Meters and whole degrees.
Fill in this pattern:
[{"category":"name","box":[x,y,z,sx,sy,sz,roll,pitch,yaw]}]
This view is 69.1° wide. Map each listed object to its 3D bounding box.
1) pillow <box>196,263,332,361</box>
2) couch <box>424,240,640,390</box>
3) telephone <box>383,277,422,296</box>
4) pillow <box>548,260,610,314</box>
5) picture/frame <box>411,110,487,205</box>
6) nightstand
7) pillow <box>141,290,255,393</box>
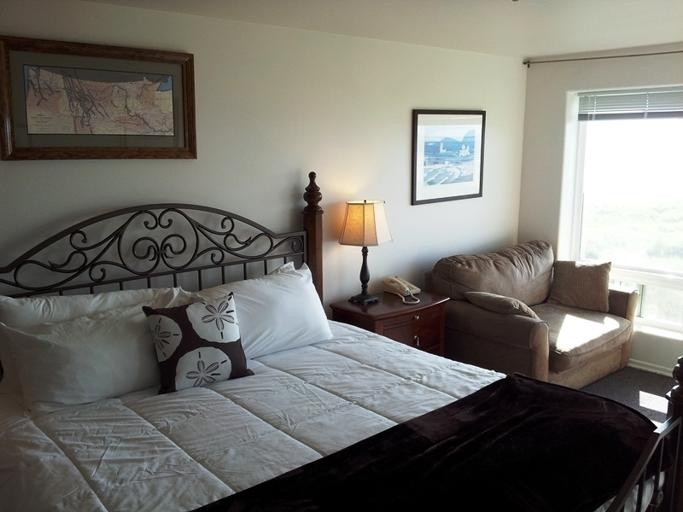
[{"category":"pillow","box":[-0.502,0.361,3.061,0.523,0.337,0.176,-10,-9,-43]},{"category":"couch","box":[1.788,0.558,4.619,1.743,1.136,1.234,-7,12,-34]},{"category":"telephone","box":[0.480,0.253,4.147,0.217,0.086,0.162,7,13,34]},{"category":"pillow","box":[2.279,0.282,4.772,0.506,0.483,0.188,4,6,26]},{"category":"picture/frame","box":[0.938,-0.944,4.750,0.972,0.825,0.292,-10,16,-35]},{"category":"nightstand","box":[0.423,0.764,4.123,0.841,0.785,0.584,-8,11,-39]},{"category":"pillow","box":[-0.782,0.474,2.751,0.543,0.440,0.261,-8,9,-33]}]
